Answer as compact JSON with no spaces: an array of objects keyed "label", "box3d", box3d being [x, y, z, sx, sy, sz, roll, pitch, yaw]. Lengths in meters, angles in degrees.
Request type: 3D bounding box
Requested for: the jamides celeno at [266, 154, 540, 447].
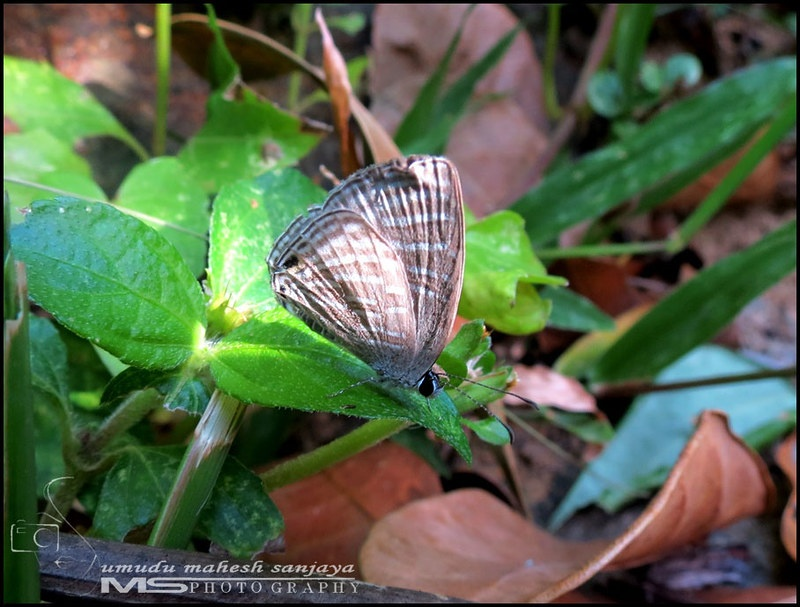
[{"label":"jamides celeno","box3d":[-0.021,-0.037,0.873,0.313,0.239,0.327,19,-1,11]}]
